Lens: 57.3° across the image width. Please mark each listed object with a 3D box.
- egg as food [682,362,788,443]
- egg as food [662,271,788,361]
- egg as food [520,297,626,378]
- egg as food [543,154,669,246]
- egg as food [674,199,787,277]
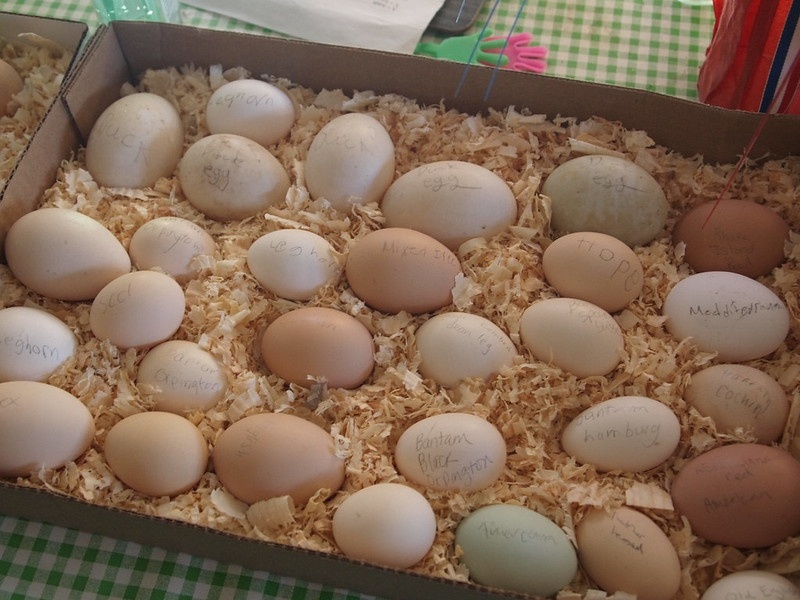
[{"bbox_3d":[0.582,0.169,1.305,0.143,0.118,0.112,21,11,11],"label":"egg as food"},{"bbox_3d":[0.584,0.027,1.359,0.186,0.144,0.114,25,8,12],"label":"egg as food"},{"bbox_3d":[0.324,0.060,1.329,0.176,0.117,0.131,22,57,20],"label":"egg as food"},{"bbox_3d":[0.415,-0.198,1.483,0.205,0.157,0.134,16,65,3],"label":"egg as food"},{"bbox_3d":[0.638,-0.119,1.427,0.165,0.139,0.102,15,6,16],"label":"egg as food"}]
